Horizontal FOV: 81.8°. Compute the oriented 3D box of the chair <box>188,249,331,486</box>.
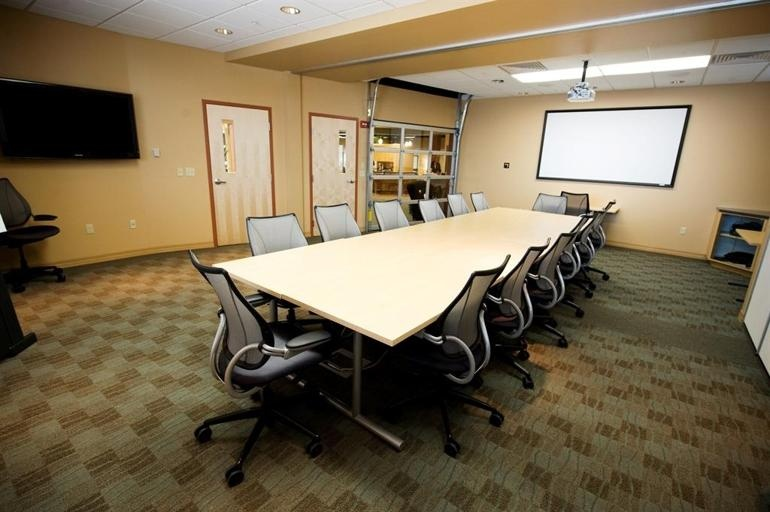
[{"bbox_3d":[-1.134,1.084,4.127,1.251,1.765,1.213,-18,34,-37],"label":"chair"}]

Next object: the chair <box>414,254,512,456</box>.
[{"bbox_3d":[0.704,0.887,4.149,0.843,1.660,0.633,-10,20,-30],"label":"chair"}]

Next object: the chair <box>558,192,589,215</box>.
[{"bbox_3d":[3.486,-0.966,8.156,0.471,0.564,0.453,6,21,37],"label":"chair"}]

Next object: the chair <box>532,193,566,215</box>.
[{"bbox_3d":[3.099,-0.985,8.316,0.469,0.558,0.463,7,14,36],"label":"chair"}]

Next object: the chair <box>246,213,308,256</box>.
[{"bbox_3d":[-1.276,-0.270,5.239,0.562,0.706,0.563,-13,24,-36],"label":"chair"}]
